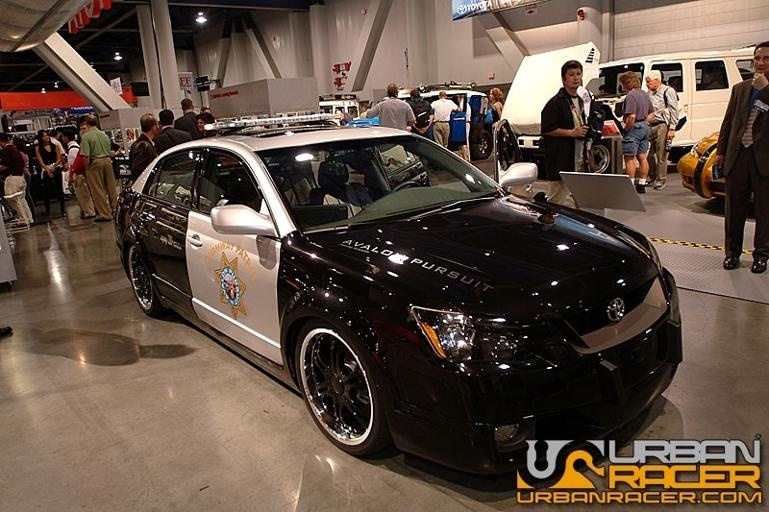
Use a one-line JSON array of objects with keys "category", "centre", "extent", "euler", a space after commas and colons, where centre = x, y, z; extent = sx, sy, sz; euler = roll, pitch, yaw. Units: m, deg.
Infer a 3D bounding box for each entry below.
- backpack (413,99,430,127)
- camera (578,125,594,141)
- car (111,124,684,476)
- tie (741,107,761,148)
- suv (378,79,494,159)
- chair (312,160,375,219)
[{"category": "backpack", "centre": [1.005, -3.948, 12.122], "extent": [0.470, 0.780, 0.513], "euler": [-4, 17, 2]}, {"category": "camera", "centre": [2.587, -1.583, 5.641], "extent": [0.073, 0.174, 0.244], "euler": [36, 2, -16]}, {"category": "car", "centre": [-0.504, -0.282, 4.345], "extent": [5.673, 1.676, 2.707], "euler": [16, 25, 43]}, {"category": "tie", "centre": [3.820, -1.336, 4.598], "extent": [0.112, 0.385, 0.048], "euler": [10, 21, 39]}, {"category": "suv", "centre": [1.672, -4.366, 14.316], "extent": [3.973, 2.389, 2.103], "euler": [-13, 24, -38]}, {"category": "chair", "centre": [-0.322, -0.524, 3.410], "extent": [0.470, 0.443, 0.445], "euler": [-13, 18, -43]}]
